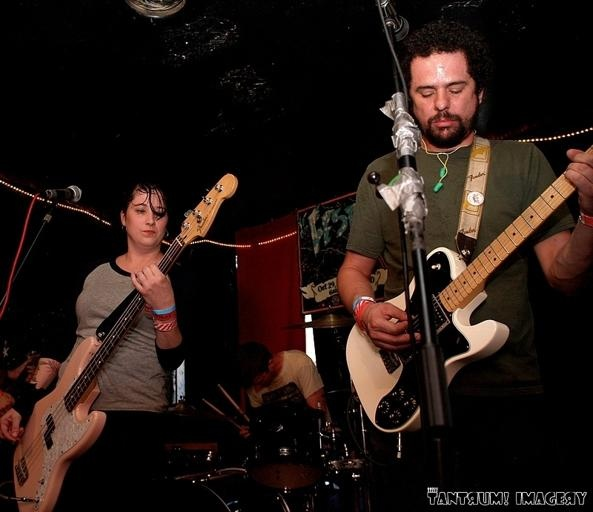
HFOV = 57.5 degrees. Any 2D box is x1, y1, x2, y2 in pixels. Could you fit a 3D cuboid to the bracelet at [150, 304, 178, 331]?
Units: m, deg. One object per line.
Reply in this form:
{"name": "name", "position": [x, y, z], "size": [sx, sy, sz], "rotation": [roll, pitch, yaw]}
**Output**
{"name": "bracelet", "position": [-0.712, 0.330, 2.906], "size": [0.122, 0.137, 0.133], "rotation": [-2, -3, 30]}

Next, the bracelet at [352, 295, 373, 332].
{"name": "bracelet", "position": [0.303, 0.258, 2.455], "size": [0.100, 0.134, 0.062], "rotation": [-10, 20, -44]}

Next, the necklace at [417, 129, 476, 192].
{"name": "necklace", "position": [0.668, -0.425, 2.522], "size": [0.175, 0.311, 0.031], "rotation": [-2, -34, 35]}

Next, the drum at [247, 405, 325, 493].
{"name": "drum", "position": [-0.090, 1.507, 4.256], "size": [0.483, 0.497, 0.511], "rotation": [17, -44, -16]}

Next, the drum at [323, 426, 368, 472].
{"name": "drum", "position": [0.337, 1.470, 4.148], "size": [0.185, 0.079, 0.299], "rotation": [-2, 14, -17]}

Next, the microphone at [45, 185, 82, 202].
{"name": "microphone", "position": [-1.349, -0.369, 3.152], "size": [0.175, 0.091, 0.096], "rotation": [-2, -45, -54]}

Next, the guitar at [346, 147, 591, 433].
{"name": "guitar", "position": [0.638, 0.266, 2.266], "size": [0.165, 0.571, 1.421], "rotation": [21, -57, -30]}

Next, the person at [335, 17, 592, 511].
{"name": "person", "position": [0.788, -0.032, 2.358], "size": [0.267, 2.368, 0.911], "rotation": [6, 7, -26]}
